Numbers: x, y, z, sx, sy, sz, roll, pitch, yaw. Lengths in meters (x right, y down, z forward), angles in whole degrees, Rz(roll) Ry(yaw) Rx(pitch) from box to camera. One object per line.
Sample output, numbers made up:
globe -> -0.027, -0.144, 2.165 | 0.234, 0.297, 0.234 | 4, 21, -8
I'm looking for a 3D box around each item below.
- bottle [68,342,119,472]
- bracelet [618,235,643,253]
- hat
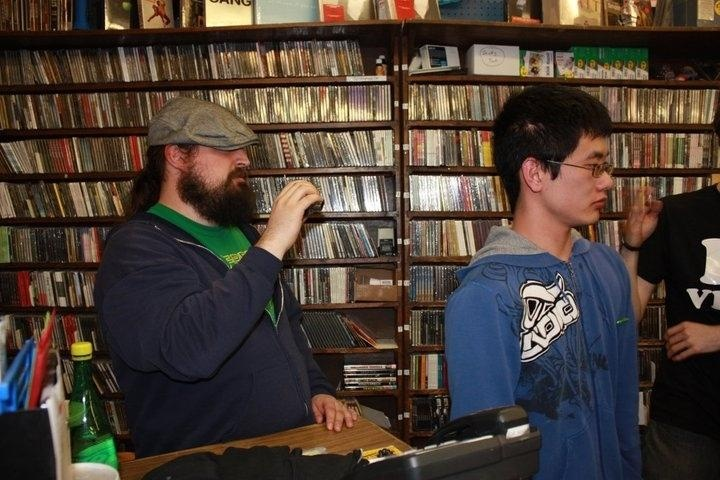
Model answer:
bottle -> -0.906, 0.565, 2.061 | 0.150, 0.470, 0.274 | -6, 2, -32
bracelet -> 1.263, 0.016, 2.828 | 0.074, 0.034, 0.094 | -5, 14, -29
hat -> -0.710, -0.506, 2.666 | 0.384, 0.144, 0.253 | 2, 17, -4
